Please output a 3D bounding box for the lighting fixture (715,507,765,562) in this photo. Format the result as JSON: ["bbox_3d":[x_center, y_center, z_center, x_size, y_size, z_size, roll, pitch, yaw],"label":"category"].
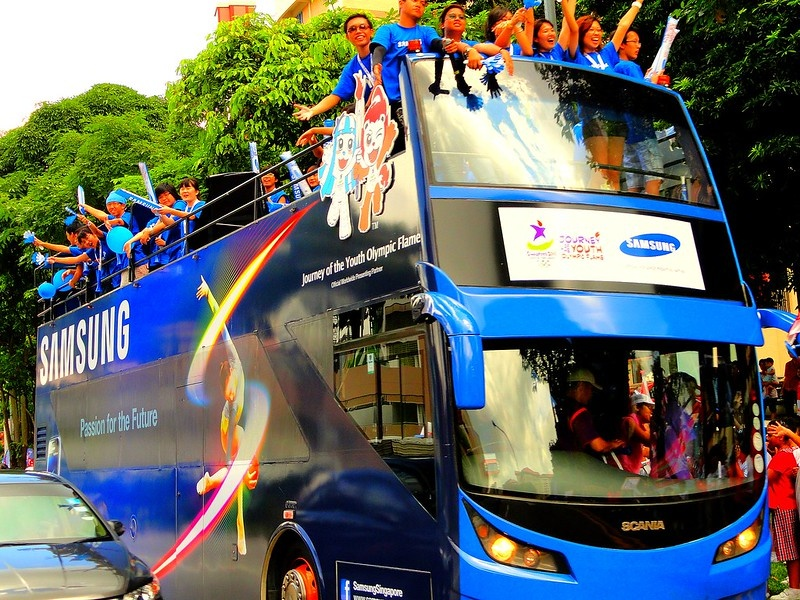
[{"bbox_3d":[2.676,1.905,5.661,0.299,0.328,0.098,4,2,-13],"label":"lighting fixture"}]

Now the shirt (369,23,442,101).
[{"bbox_3d":[0.072,-2.306,6.930,0.715,0.964,0.288,-2,-24,-4],"label":"shirt"}]

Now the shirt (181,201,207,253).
[{"bbox_3d":[-2.862,-0.992,9.854,0.238,0.291,0.834,11,11,-14],"label":"shirt"}]

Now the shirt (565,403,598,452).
[{"bbox_3d":[1.371,0.978,5.397,0.270,0.336,0.174,-14,-3,-1],"label":"shirt"}]

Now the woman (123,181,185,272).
[{"bbox_3d":[-3.570,-0.936,10.641,0.733,1.643,0.938,-3,-5,27],"label":"woman"}]

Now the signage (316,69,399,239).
[{"bbox_3d":[-0.375,-1.319,6.595,0.046,2.247,1.685,9,-15,-27],"label":"signage"}]

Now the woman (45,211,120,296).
[{"bbox_3d":[-6.045,-0.861,13.554,1.239,1.328,2.178,8,21,-37],"label":"woman"}]
